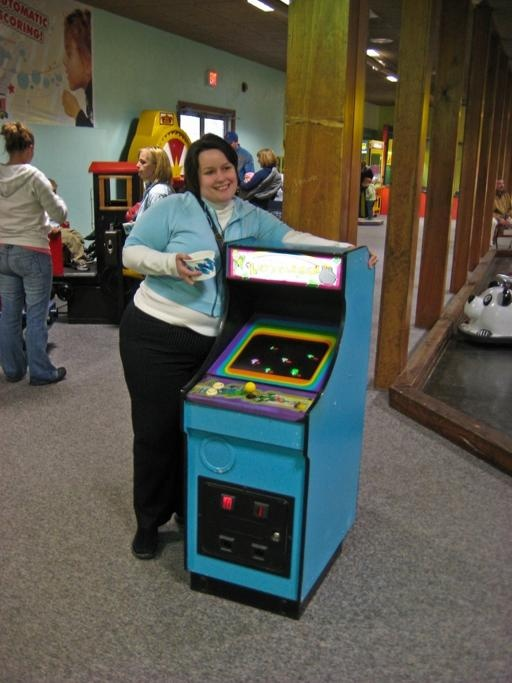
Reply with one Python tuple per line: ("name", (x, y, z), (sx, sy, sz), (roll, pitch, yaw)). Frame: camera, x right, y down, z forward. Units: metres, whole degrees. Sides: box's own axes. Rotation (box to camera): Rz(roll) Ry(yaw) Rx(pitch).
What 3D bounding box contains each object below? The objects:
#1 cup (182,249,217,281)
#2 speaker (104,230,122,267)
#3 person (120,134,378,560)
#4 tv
("cup", (-0.166, -0.209, 1.566), (0.084, 0.064, 0.087), (-9, 40, 8))
("speaker", (-1.327, -0.875, 4.930), (0.159, 0.329, 0.272), (-2, 11, -15))
("person", (-0.036, 0.015, 1.808), (0.819, 1.346, 0.513), (-1, 10, -15))
("tv", (0.056, 0.035, 1.663), (0.350, 0.137, 0.242), (6, 12, 25))
